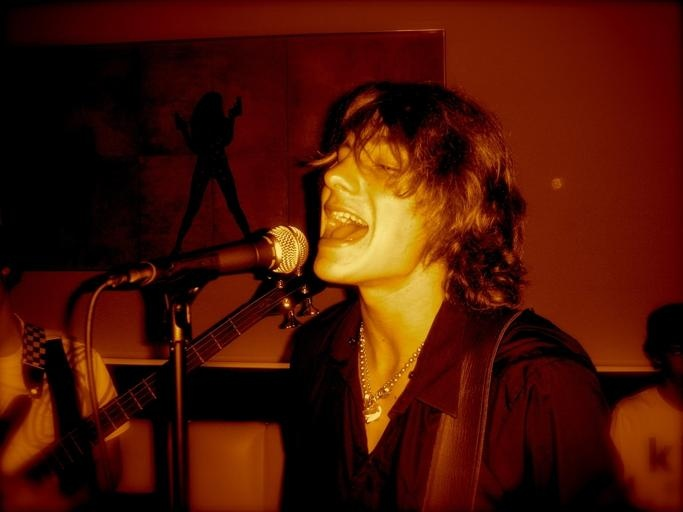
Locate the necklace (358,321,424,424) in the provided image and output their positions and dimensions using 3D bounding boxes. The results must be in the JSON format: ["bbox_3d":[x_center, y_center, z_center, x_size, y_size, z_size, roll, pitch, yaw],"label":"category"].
[{"bbox_3d":[0.196,0.599,3.582,0.287,0.401,0.064,6,-6,26],"label":"necklace"}]

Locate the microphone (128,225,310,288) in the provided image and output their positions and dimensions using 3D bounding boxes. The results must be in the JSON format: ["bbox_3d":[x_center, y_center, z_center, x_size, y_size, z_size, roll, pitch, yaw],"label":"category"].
[{"bbox_3d":[-0.513,-0.041,3.238,0.802,0.286,0.234,-8,3,-28],"label":"microphone"}]
